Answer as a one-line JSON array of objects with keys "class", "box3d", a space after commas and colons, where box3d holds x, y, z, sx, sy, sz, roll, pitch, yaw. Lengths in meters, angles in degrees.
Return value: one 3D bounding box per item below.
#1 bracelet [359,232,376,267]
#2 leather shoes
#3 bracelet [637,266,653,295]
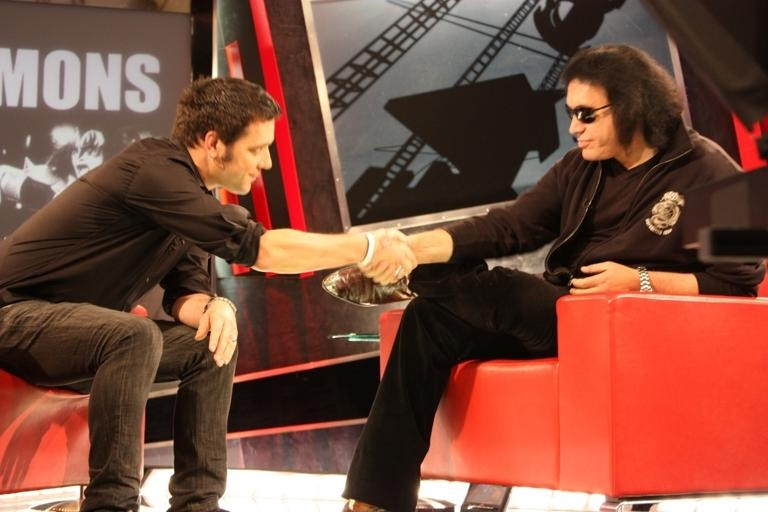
[{"class": "bracelet", "box3d": [-0.072, -0.021, 2.098, 0.033, 0.089, 0.080, 8, -25, -21]}, {"class": "leather shoes", "box3d": [-0.045, 0.112, 2.204, 0.342, 0.112, 0.105, 14, -1, -27]}, {"class": "bracelet", "box3d": [0.831, 0.080, 2.018, 0.041, 0.066, 0.062, -4, 12, 11]}]
